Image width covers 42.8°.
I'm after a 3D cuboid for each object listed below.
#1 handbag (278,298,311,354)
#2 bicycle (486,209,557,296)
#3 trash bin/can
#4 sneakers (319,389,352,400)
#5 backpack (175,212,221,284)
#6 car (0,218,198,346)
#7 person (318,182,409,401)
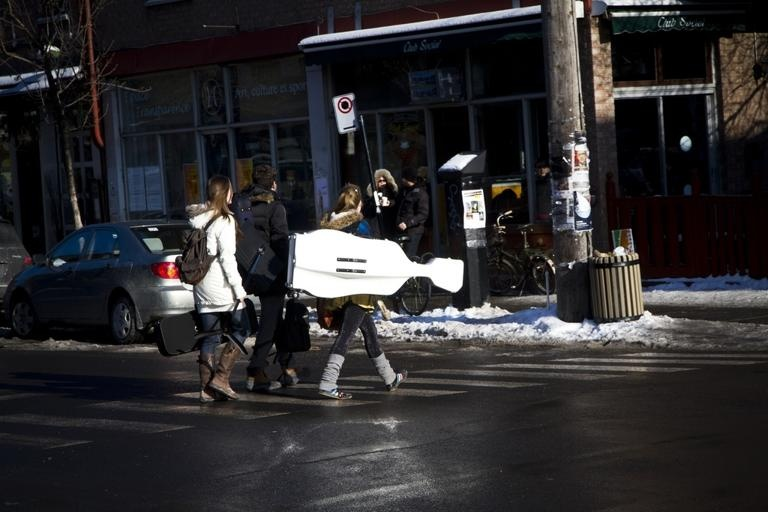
[{"bbox_3d":[-1.080,0.846,11.896,0.377,0.641,0.464,-4,12,-32],"label":"handbag"},{"bbox_3d":[2.478,0.006,18.098,1.541,1.506,0.837,-1,18,34],"label":"bicycle"},{"bbox_3d":[3.454,0.476,14.468,0.620,0.957,0.633,-4,4,25],"label":"trash bin/can"},{"bbox_3d":[-0.574,1.619,11.415,0.394,0.163,0.147,-2,2,-8],"label":"sneakers"},{"bbox_3d":[-2.098,-0.114,11.601,0.412,0.794,0.586,-3,2,0],"label":"backpack"},{"bbox_3d":[-4.684,0.453,16.719,3.649,1.664,2.014,5,4,33],"label":"car"},{"bbox_3d":[-0.365,0.398,11.780,0.941,2.470,1.168,-3,7,-3],"label":"person"}]
